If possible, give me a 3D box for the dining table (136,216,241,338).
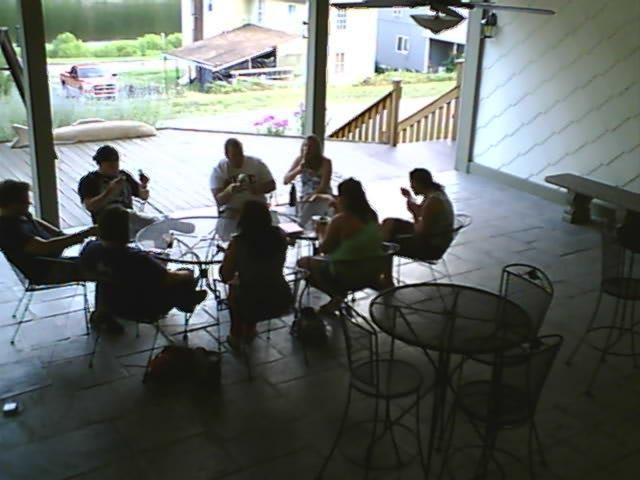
[{"bbox_3d":[-1.289,0.397,4.603,1.058,0.635,1.001,6,26,4],"label":"dining table"}]

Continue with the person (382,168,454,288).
[{"bbox_3d":[0.929,-0.236,5.026,0.666,0.886,0.543,4,23,6],"label":"person"}]

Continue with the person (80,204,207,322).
[{"bbox_3d":[-1.348,0.152,4.121,0.884,0.969,0.903,-1,24,-11],"label":"person"}]

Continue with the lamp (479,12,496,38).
[{"bbox_3d":[2.590,-3.272,8.168,0.125,0.324,0.248,-2,13,-40],"label":"lamp"}]

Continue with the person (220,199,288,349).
[{"bbox_3d":[-0.479,0.161,3.831,0.455,0.908,0.396,-8,25,-20],"label":"person"}]

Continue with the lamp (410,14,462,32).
[{"bbox_3d":[0.922,-1.715,4.248,0.401,0.141,0.192,6,22,11],"label":"lamp"}]

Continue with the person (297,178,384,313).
[{"bbox_3d":[0.191,0.110,4.336,0.686,1.176,0.710,0,23,-1],"label":"person"}]

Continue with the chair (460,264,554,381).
[{"bbox_3d":[1.270,0.573,3.598,0.574,0.814,0.468,2,41,-6],"label":"chair"}]

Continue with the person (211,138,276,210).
[{"bbox_3d":[-0.774,-0.645,5.335,0.637,0.692,0.522,-6,24,-15],"label":"person"}]

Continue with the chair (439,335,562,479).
[{"bbox_3d":[1.170,0.897,3.376,0.616,0.965,0.910,9,24,17],"label":"chair"}]

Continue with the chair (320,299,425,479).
[{"bbox_3d":[0.339,0.982,3.417,0.633,1.139,0.560,-9,29,-13],"label":"chair"}]

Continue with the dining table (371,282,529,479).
[{"bbox_3d":[0.760,0.827,3.747,1.122,1.157,1.019,1,29,3],"label":"dining table"}]

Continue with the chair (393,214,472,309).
[{"bbox_3d":[1.091,0.115,5.530,0.685,0.683,0.655,1,4,21],"label":"chair"}]

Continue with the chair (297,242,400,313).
[{"bbox_3d":[0.285,0.223,4.597,0.593,0.693,0.710,3,30,10],"label":"chair"}]
